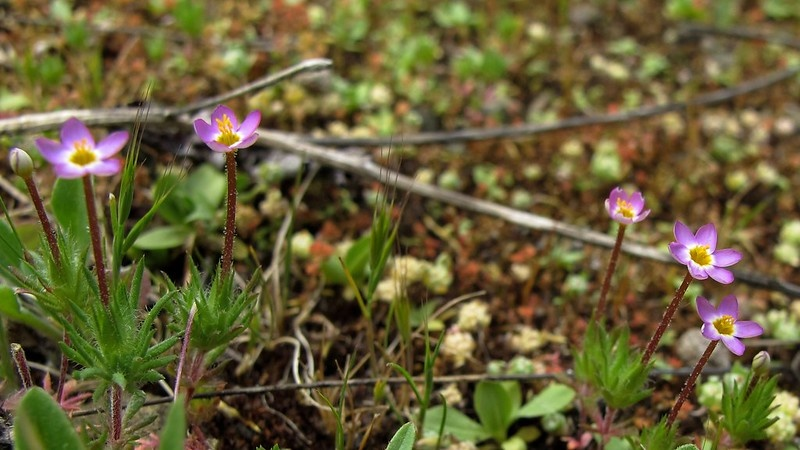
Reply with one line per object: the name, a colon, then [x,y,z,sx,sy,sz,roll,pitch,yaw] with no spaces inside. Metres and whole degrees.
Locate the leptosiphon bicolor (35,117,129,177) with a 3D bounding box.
leptosiphon bicolor: [-1.546,-0.362,3.303,0.389,0.422,0.161,-10,76,-16]

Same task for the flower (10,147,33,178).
flower: [-1.834,-0.313,3.292,0.083,0.148,0.173,-12,36,-31]

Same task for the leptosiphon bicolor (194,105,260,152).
leptosiphon bicolor: [-0.861,-0.443,3.397,0.353,0.173,0.303,-1,30,-35]
